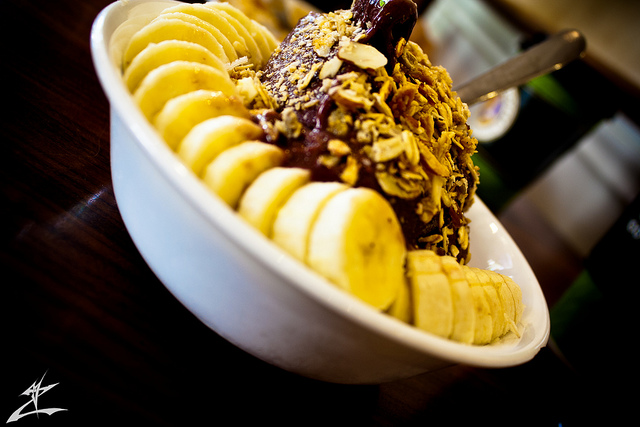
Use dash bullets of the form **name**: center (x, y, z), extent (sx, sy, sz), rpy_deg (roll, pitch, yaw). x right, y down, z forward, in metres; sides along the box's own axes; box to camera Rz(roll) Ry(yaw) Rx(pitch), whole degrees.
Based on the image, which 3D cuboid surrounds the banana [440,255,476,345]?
- **banana**: center (0.382, 0.225, 1.445), extent (0.103, 0.199, 0.075), rpy_deg (32, 54, 25)

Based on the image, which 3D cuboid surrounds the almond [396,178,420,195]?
- **almond**: center (0.243, -0.073, 1.454), extent (0.045, 0.011, 0.046), rpy_deg (34, 37, 20)

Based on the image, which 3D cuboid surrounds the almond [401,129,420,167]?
- **almond**: center (0.244, -0.177, 1.444), extent (0.050, 0.089, 0.020), rpy_deg (-8, 0, -12)

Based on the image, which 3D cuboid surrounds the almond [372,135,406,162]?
- **almond**: center (0.201, -0.179, 1.442), extent (0.072, 0.018, 0.048), rpy_deg (-15, 58, 7)

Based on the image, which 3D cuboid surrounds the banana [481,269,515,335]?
- **banana**: center (0.522, 0.252, 1.540), extent (0.084, 0.126, 0.160), rpy_deg (-1, 39, 8)

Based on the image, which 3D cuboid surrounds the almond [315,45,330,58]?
- **almond**: center (0.004, -0.455, 1.526), extent (0.034, 0.033, 0.010), rpy_deg (63, 2, 10)

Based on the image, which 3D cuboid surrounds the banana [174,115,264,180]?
- **banana**: center (-0.265, -0.200, 1.506), extent (0.277, 0.151, 0.174), rpy_deg (-1, 14, -2)

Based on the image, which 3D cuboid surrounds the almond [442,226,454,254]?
- **almond**: center (0.367, 0.074, 1.576), extent (0.015, 0.063, 0.046), rpy_deg (3, 16, 12)

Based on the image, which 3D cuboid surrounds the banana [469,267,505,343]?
- **banana**: center (0.479, 0.248, 1.493), extent (0.049, 0.174, 0.130), rpy_deg (-11, -9, 14)

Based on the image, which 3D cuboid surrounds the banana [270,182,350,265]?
- **banana**: center (-0.045, 0.006, 1.439), extent (0.157, 0.166, 0.332), rpy_deg (8, 19, -8)

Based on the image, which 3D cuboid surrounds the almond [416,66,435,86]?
- **almond**: center (0.319, -0.410, 1.613), extent (0.038, 0.015, 0.064), rpy_deg (2, 62, -27)

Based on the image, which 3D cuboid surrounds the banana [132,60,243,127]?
- **banana**: center (-0.365, -0.360, 1.480), extent (0.318, 0.175, 0.226), rpy_deg (-10, 20, -26)

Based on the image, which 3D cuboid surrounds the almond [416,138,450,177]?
- **almond**: center (0.310, -0.148, 1.488), extent (0.121, 0.031, 0.068), rpy_deg (57, 33, -4)
